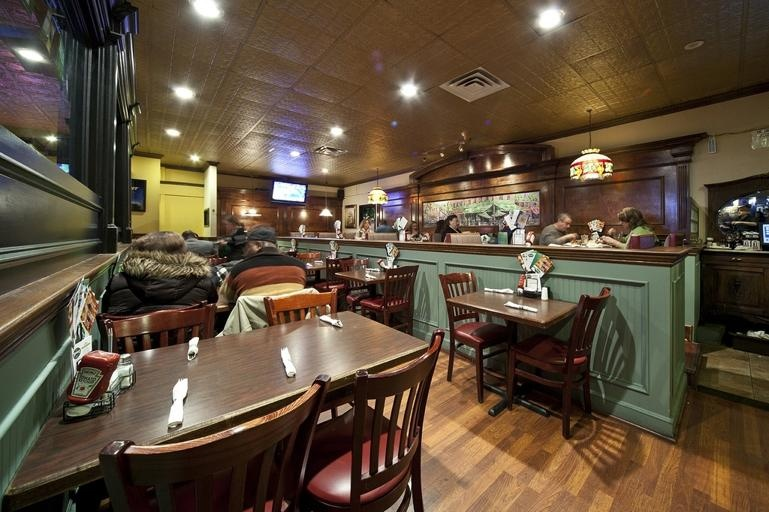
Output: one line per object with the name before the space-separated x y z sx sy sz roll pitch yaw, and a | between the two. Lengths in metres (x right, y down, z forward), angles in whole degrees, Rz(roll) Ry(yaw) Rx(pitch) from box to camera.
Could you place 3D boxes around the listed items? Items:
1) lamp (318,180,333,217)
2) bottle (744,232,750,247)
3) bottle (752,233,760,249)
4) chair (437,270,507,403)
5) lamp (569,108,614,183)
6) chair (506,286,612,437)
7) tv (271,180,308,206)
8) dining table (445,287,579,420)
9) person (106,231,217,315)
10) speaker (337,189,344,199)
lamp | -1.726 -1.626 13.317 0.306 0.926 0.639 -1 5 1
bottle | 4.967 -0.232 6.122 0.086 0.189 0.190 2 6 37
bottle | 5.008 -0.194 6.040 0.224 0.210 0.114 0 -1 -39
chair | 0.987 0.841 4.782 0.711 1.146 0.694 9 15 37
lamp | 3.222 -1.716 6.918 0.630 1.058 1.407 1 5 24
chair | 1.662 0.921 4.315 0.770 1.192 0.816 -3 8 -32
tv | -2.555 -1.755 12.145 0.221 0.558 1.041 3 6 39
dining table | 1.308 0.907 4.614 1.154 1.050 1.106 -5 9 -41
person | -1.987 0.169 3.945 0.695 1.021 0.535 9 26 -9
speaker | -1.342 -1.930 13.757 0.228 0.300 0.167 5 23 6
